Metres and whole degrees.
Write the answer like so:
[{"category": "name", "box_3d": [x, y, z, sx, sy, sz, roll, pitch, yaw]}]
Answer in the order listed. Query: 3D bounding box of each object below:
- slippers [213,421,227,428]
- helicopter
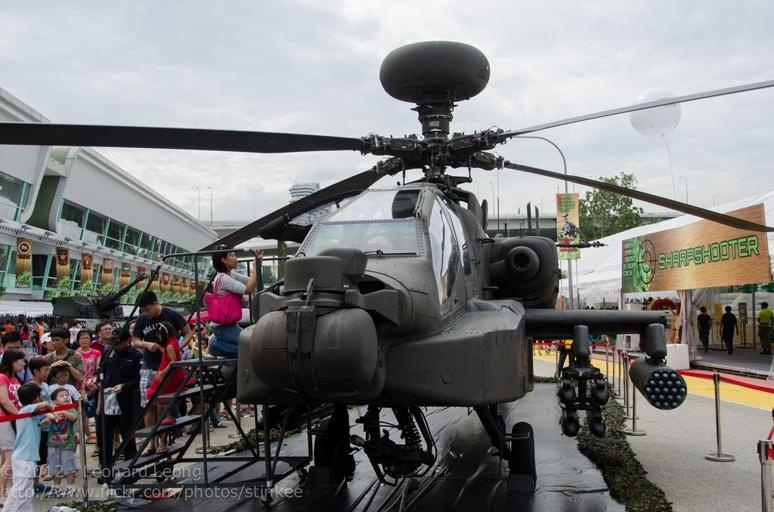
[{"category": "slippers", "box_3d": [-3.846, 3.883, 12.807, 0.337, 0.130, 0.100, -2, -3, 1]}, {"category": "helicopter", "box_3d": [1.370, 0.532, 9.544, 8.108, 4.284, 8.948, -2, -7, 21]}]
